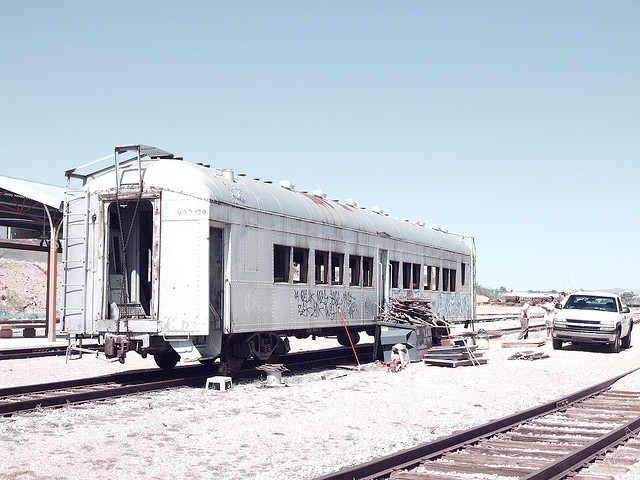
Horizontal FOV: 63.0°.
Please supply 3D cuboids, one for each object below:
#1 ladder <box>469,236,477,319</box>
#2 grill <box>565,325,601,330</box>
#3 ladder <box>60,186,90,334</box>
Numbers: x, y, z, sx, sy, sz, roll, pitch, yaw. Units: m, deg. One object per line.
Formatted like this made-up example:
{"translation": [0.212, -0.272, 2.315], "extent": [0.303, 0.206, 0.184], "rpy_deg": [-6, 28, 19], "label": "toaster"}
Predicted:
{"translation": [7.331, 1.738, 25.025], "extent": [0.224, 2.886, 1.349], "rpy_deg": [-3, -18, 27], "label": "ladder"}
{"translation": [10.320, 3.412, 20.404], "extent": [0.952, 0.169, 0.133], "rpy_deg": [1, -6, 26], "label": "grill"}
{"translation": [-5.866, 0.448, 12.429], "extent": [0.931, 3.538, 0.333], "rpy_deg": [-6, -10, 28], "label": "ladder"}
